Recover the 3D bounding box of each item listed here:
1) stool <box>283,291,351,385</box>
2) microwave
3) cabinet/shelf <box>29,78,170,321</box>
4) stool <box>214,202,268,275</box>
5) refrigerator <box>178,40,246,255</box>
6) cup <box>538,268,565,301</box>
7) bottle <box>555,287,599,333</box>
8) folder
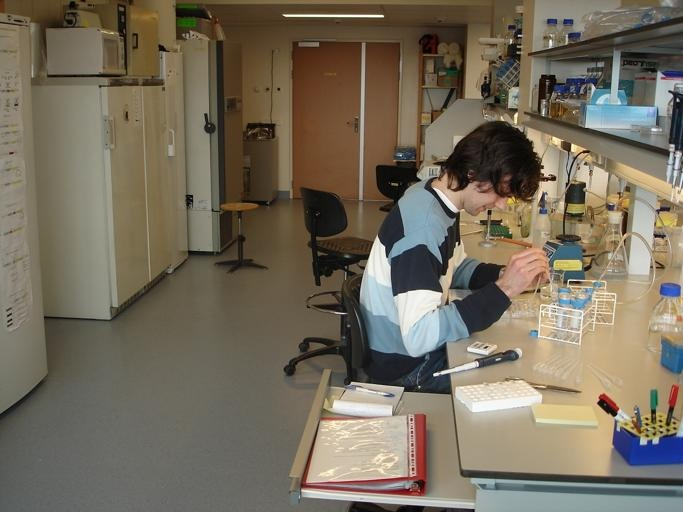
[{"bbox_3d":[-0.177,0.574,3.564,0.428,0.496,0.376,-20,37,-37],"label":"stool"},{"bbox_3d":[-2.001,-1.622,4.130,0.372,0.344,0.549,1,19,-8],"label":"microwave"},{"bbox_3d":[-2.111,-0.642,4.833,0.653,1.870,1.873,0,13,-6],"label":"cabinet/shelf"},{"bbox_3d":[-1.176,-0.184,5.960,0.554,0.839,0.580,14,22,29],"label":"stool"},{"bbox_3d":[-1.458,-1.217,5.883,0.457,2.271,0.719,2,14,7],"label":"refrigerator"},{"bbox_3d":[0.845,0.112,2.106,0.108,0.117,0.073,-15,28,-24],"label":"cup"},{"bbox_3d":[0.853,0.182,1.887,0.119,0.115,0.248,-1,17,11],"label":"bottle"},{"bbox_3d":[0.063,0.531,1.408,0.186,0.057,0.193,2,22,5],"label":"folder"}]
